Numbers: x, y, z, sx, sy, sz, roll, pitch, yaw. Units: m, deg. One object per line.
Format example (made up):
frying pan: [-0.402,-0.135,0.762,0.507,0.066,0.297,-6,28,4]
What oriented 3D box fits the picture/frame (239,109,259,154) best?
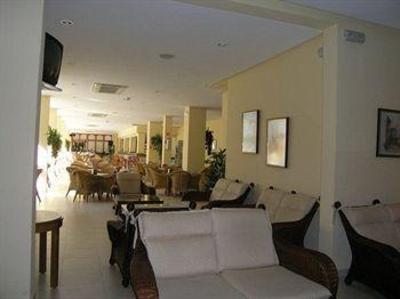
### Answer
picture/frame: [1.034,-0.358,5.884,0.140,0.859,0.581,-3,4,-18]

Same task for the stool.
stool: [-1.890,1.220,3.610,0.287,0.910,0.686,-4,5,-31]
